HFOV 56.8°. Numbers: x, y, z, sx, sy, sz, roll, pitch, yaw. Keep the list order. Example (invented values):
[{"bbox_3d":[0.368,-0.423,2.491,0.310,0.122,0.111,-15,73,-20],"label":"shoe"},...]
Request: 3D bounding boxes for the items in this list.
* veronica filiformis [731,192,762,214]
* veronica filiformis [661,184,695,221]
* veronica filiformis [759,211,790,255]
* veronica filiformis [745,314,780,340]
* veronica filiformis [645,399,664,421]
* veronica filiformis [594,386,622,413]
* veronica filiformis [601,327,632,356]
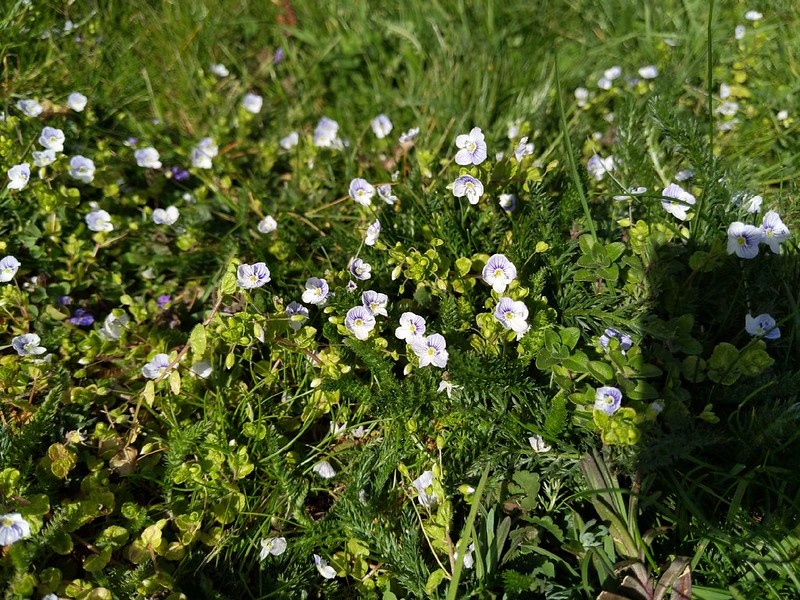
[{"bbox_3d":[1.495,-0.424,3.179,0.112,0.056,0.120,29,44,15],"label":"veronica filiformis"},{"bbox_3d":[1.167,-0.433,3.146,0.128,0.165,0.074,-11,76,38],"label":"veronica filiformis"},{"bbox_3d":[1.469,-0.265,2.921,0.126,0.056,0.172,13,82,-1],"label":"veronica filiformis"},{"bbox_3d":[1.402,0.102,2.857,0.092,0.049,0.117,-10,86,5],"label":"veronica filiformis"},{"bbox_3d":[0.945,0.402,2.743,0.026,0.064,0.075,37,109,44],"label":"veronica filiformis"},{"bbox_3d":[0.751,0.364,2.676,0.094,0.071,0.094,-2,57,17],"label":"veronica filiformis"},{"bbox_3d":[0.835,0.177,2.882,0.098,0.049,0.096,40,50,-3],"label":"veronica filiformis"}]
